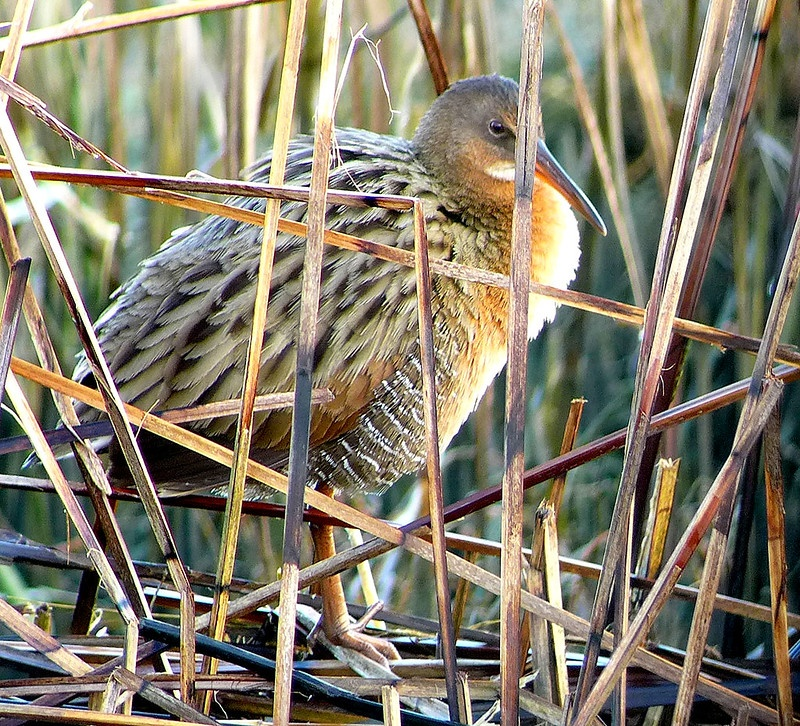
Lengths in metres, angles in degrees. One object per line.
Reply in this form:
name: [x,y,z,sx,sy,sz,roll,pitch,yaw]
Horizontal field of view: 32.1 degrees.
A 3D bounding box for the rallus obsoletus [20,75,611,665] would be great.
rallus obsoletus: [-0.094,-0.046,2.800,1.148,0.622,1.173,-4,-63,-5]
